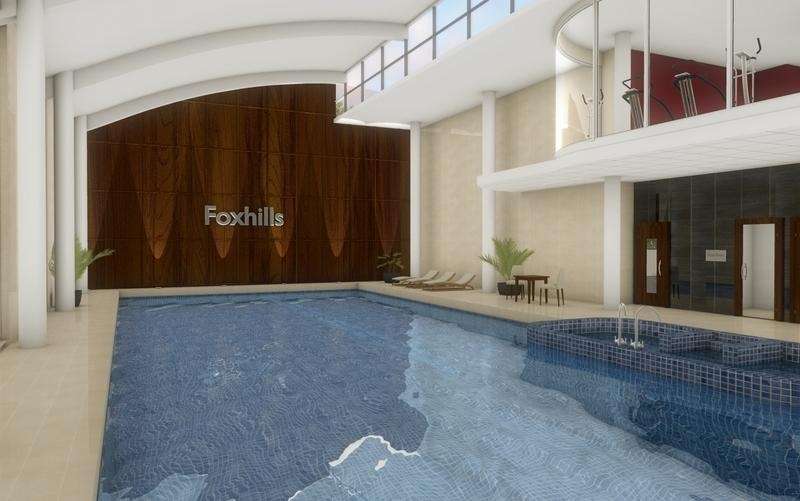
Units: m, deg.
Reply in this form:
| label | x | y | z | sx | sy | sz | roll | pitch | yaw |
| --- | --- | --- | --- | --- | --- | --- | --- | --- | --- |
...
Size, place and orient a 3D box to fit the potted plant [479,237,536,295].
| label | x | y | z | sx | sy | sz | roll | pitch | yaw |
| --- | --- | --- | --- | --- | --- | --- | --- | --- | --- |
| potted plant | 3.250 | 0.501 | 15.492 | 1.411 | 1.919 | 1.807 | 1 | -7 | -7 |

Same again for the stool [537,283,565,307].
| label | x | y | z | sx | sy | sz | roll | pitch | yaw |
| --- | --- | --- | --- | --- | --- | --- | --- | --- | --- |
| stool | 4.280 | 1.245 | 14.090 | 0.690 | 1.167 | 0.655 | -1 | -6 | 24 |

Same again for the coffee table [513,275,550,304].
| label | x | y | z | sx | sy | sz | roll | pitch | yaw |
| --- | --- | --- | --- | --- | --- | --- | --- | --- | --- |
| coffee table | 3.644 | 1.078 | 13.980 | 0.848 | 0.867 | 0.852 | 4 | -5 | -32 |

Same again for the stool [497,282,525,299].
| label | x | y | z | sx | sy | sz | roll | pitch | yaw |
| --- | --- | --- | --- | --- | --- | --- | --- | --- | --- |
| stool | 3.356 | 1.197 | 14.932 | 0.492 | 0.280 | 0.577 | 3 | -5 | -40 |

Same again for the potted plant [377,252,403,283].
| label | x | y | z | sx | sy | sz | roll | pitch | yaw |
| --- | --- | --- | --- | --- | --- | --- | --- | --- | --- |
| potted plant | -0.189 | 0.630 | 20.294 | 1.216 | 1.533 | 1.015 | 2 | -6 | -24 |
